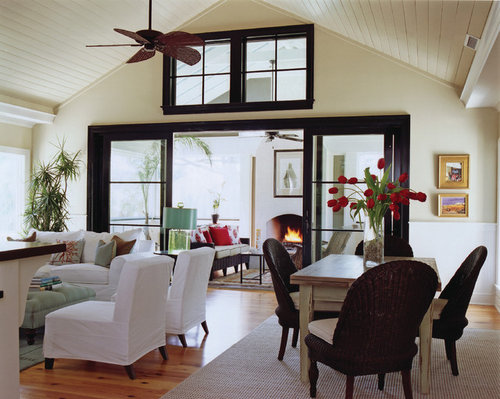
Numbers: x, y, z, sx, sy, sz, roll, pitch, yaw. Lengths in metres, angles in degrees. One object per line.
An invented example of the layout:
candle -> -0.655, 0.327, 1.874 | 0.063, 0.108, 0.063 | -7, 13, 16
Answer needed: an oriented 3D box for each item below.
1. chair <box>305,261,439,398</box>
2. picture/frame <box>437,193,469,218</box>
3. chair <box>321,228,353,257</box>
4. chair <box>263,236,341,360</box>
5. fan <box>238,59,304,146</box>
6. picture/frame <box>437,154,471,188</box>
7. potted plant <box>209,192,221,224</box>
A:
chair -> 0.794, 0.806, 2.674 | 0.718, 1.121, 0.894 | 1, -2, -21
picture/frame -> 2.874, 0.080, 5.429 | 0.302, 0.323, 0.022 | 1, 0, 11
chair -> 1.311, 0.684, 6.088 | 0.272, 0.472, 0.421 | 23, -7, -5
chair -> 0.374, 0.843, 3.614 | 0.867, 1.297, 0.881 | -2, -2, 12
fan -> 0.479, -1.743, 8.126 | 0.995, 1.396, 0.925 | 1, 11, 5
picture/frame -> 2.886, -0.401, 5.434 | 0.426, 0.587, 0.038 | 0, 0, 14
potted plant -> -0.848, 0.203, 10.004 | 0.286, 0.785, 1.048 | 0, -1, -6
